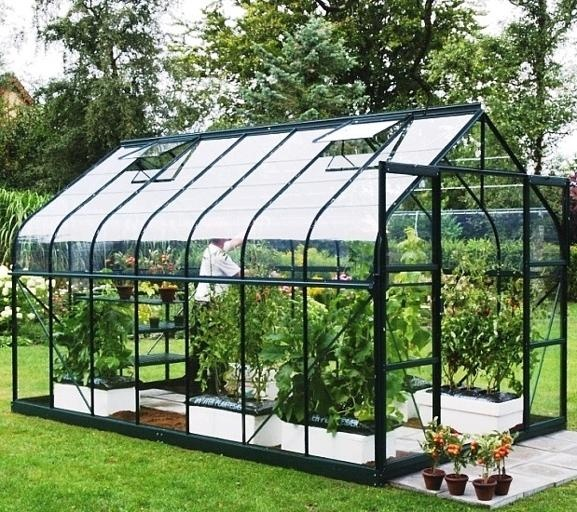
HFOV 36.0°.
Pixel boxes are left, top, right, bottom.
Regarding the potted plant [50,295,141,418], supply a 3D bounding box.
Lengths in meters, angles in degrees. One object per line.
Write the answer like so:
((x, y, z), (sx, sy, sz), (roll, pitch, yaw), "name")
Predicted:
((-2.388, 1.183, 10.760), (1.037, 1.466, 0.582), (-1, 9, -1), "potted plant")

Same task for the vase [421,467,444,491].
((1.392, 2.145, 8.579), (0.183, 0.143, 0.193), (0, -6, 2), "vase")

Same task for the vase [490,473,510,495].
((2.019, 2.173, 8.487), (0.168, 0.143, 0.177), (0, -6, 2), "vase")

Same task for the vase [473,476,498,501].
((1.842, 2.182, 8.369), (0.184, 0.148, 0.188), (-6, -9, 40), "vase")

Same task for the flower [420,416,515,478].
((1.812, 1.819, 8.683), (0.667, 0.392, 0.709), (3, 3, 31), "flower")

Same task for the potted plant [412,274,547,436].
((2.147, 1.166, 9.961), (1.091, 2.269, 1.581), (-3, 5, -44), "potted plant")

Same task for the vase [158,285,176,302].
((-1.438, 0.446, 10.548), (0.162, 0.139, 0.171), (1, -2, 17), "vase")

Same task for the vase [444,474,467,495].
((1.585, 2.172, 8.494), (0.179, 0.140, 0.189), (0, -6, -4), "vase")

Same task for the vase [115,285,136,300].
((-1.942, 0.443, 10.556), (0.159, 0.125, 0.168), (2, -4, 6), "vase")
